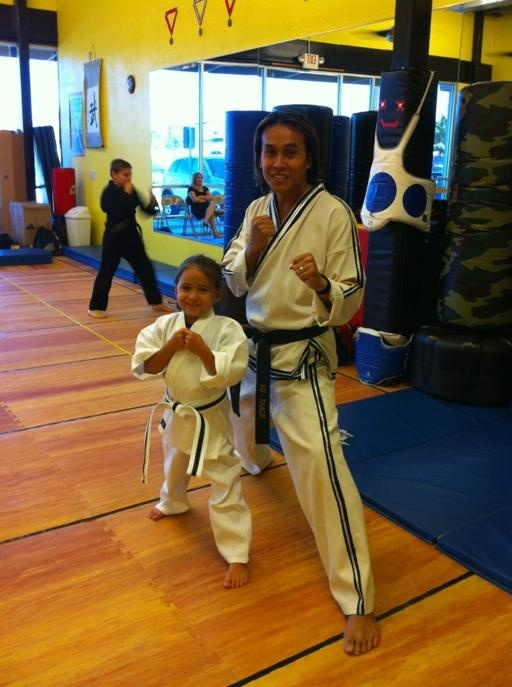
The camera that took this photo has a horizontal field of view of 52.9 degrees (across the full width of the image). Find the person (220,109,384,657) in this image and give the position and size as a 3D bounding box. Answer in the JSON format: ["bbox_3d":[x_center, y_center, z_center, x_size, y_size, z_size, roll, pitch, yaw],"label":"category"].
[{"bbox_3d":[0.127,0.026,1.413,0.326,1.256,0.818,-5,12,-17],"label":"person"}]

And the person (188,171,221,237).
[{"bbox_3d":[-0.600,-1.588,5.921,0.150,0.728,0.580,-10,15,-36],"label":"person"}]

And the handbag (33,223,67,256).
[{"bbox_3d":[-3.260,-1.654,8.032,0.551,0.551,0.413,-8,30,-26],"label":"handbag"}]

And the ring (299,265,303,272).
[{"bbox_3d":[0.102,-0.169,1.170,0.008,0.011,0.012,-3,17,5],"label":"ring"}]
